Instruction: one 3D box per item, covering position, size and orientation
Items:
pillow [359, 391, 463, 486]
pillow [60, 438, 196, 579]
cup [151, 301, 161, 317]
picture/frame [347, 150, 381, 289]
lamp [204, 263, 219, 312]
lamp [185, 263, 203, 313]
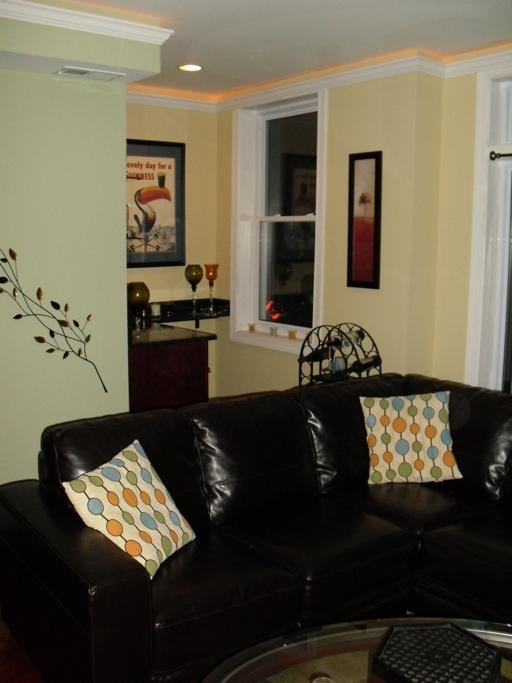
[{"bbox_3d":[0.694,0.426,2.500,0.401,0.378,0.093,-5,-13,-3],"label":"pillow"},{"bbox_3d":[-0.375,0.485,1.821,0.481,0.501,0.098,30,34,11],"label":"pillow"},{"bbox_3d":[-0.794,-0.246,4.561,0.071,0.098,0.106,1,5,-2],"label":"cup"},{"bbox_3d":[0.703,-0.748,3.725,0.030,0.876,0.315,-10,17,-31],"label":"picture/frame"},{"bbox_3d":[-0.381,-0.454,4.912,0.114,0.409,0.314,1,5,-4],"label":"lamp"},{"bbox_3d":[-0.521,-0.447,4.822,0.141,0.397,0.381,1,5,-4],"label":"lamp"}]
